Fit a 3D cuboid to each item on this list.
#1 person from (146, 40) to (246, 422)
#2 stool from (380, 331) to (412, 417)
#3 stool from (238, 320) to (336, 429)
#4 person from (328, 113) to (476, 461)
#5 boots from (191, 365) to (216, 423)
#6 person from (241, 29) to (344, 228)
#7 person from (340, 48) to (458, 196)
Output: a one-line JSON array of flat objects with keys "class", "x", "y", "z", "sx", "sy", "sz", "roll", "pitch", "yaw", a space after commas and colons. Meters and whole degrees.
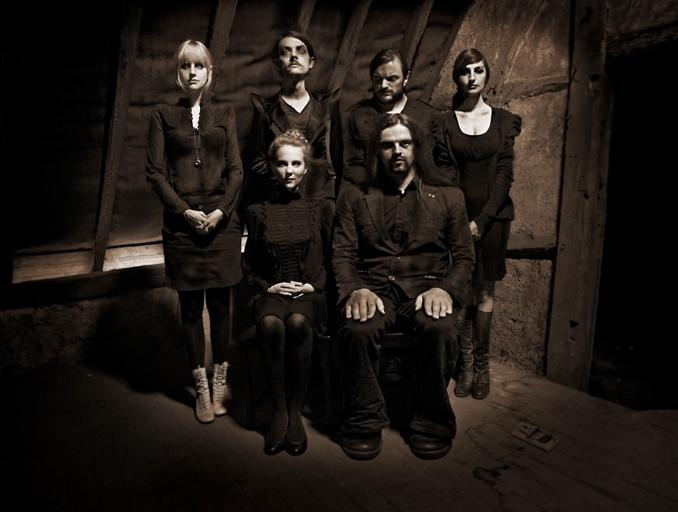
[{"class": "person", "x": -0.971, "y": -0.166, "z": 4.175, "sx": 0.504, "sy": 2.686, "sz": 0.678, "roll": -3, "pitch": -4, "yaw": 24}, {"class": "stool", "x": 0.427, "y": 0.823, "z": 4.107, "sx": 0.396, "sy": 0.530, "sz": 0.152, "roll": 0, "pitch": 6, "yaw": -21}, {"class": "stool", "x": -0.378, "y": 0.833, "z": 4.107, "sx": 0.656, "sy": 0.770, "sz": 0.690, "roll": -1, "pitch": -4, "yaw": -11}, {"class": "person", "x": 0.442, "y": 0.174, "z": 3.895, "sx": 0.966, "sy": 2.292, "sz": 0.388, "roll": -1, "pitch": -4, "yaw": -1}, {"class": "boots", "x": -0.961, "y": 0.998, "z": 4.094, "sx": 0.134, "sy": 0.443, "sz": 0.192, "roll": -5, "pitch": -42, "yaw": -16}, {"class": "person", "x": -0.341, "y": -0.866, "z": 4.670, "sx": 0.781, "sy": 1.806, "sz": 0.445, "roll": -6, "pitch": 26, "yaw": -13}, {"class": "person", "x": 0.401, "y": -0.891, "z": 4.471, "sx": 0.874, "sy": 1.394, "sz": 0.762, "roll": 0, "pitch": 5, "yaw": 5}]
